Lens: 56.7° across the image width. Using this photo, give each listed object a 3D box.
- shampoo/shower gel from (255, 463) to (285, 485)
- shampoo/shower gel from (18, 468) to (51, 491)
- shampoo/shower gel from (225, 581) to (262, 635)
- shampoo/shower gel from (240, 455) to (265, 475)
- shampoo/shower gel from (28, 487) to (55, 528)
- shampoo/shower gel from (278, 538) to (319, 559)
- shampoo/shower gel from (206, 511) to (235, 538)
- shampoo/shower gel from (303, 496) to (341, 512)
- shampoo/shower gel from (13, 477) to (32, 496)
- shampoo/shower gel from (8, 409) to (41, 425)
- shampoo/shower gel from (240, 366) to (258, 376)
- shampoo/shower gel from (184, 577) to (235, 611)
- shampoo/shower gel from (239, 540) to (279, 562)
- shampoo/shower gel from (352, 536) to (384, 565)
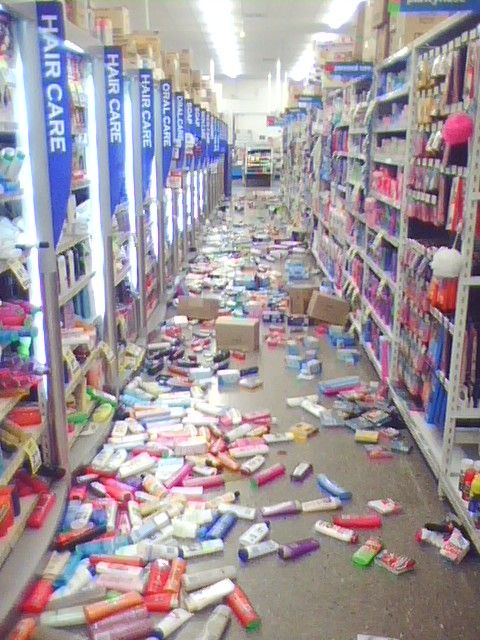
[{"bbox_3d":[0.199,0.980,2.822,0.271,0.064,0.066,-5,11,-38],"label":"shampoo/shower gel"},{"bbox_3d":[-1.020,0.796,2.172,0.092,0.036,0.107,25,11,-4],"label":"shampoo/shower gel"},{"bbox_3d":[0.008,1.083,1.687,0.058,0.185,0.168,-41,40,-10],"label":"shampoo/shower gel"},{"bbox_3d":[0.086,0.941,2.947,0.069,0.058,0.147,18,12,28],"label":"shampoo/shower gel"},{"bbox_3d":[-0.920,0.878,2.063,0.045,0.048,0.191,13,27,-7],"label":"shampoo/shower gel"},{"bbox_3d":[0.266,1.042,2.095,0.138,0.070,0.086,-3,8,-27],"label":"shampoo/shower gel"},{"bbox_3d":[-0.093,1.067,2.307,0.111,0.051,0.228,5,10,16],"label":"shampoo/shower gel"},{"bbox_3d":[0.452,1.033,2.497,0.141,0.045,0.098,-4,9,-7],"label":"shampoo/shower gel"},{"bbox_3d":[-1.040,0.803,2.140,0.074,0.039,0.084,27,19,14],"label":"shampoo/shower gel"},{"bbox_3d":[-1.039,0.467,2.134,0.075,0.030,0.086,12,22,-23],"label":"shampoo/shower gel"},{"bbox_3d":[0.087,0.522,4.530,0.109,0.047,0.095,-2,17,-2],"label":"shampoo/shower gel"},{"bbox_3d":[-0.117,1.082,1.754,0.160,0.069,0.088,-13,28,-32],"label":"shampoo/shower gel"},{"bbox_3d":[0.085,1.069,2.075,0.132,0.054,0.089,-10,10,-24],"label":"shampoo/shower gel"},{"bbox_3d":[0.599,1.086,2.096,0.100,0.044,0.225,10,13,41],"label":"shampoo/shower gel"}]
